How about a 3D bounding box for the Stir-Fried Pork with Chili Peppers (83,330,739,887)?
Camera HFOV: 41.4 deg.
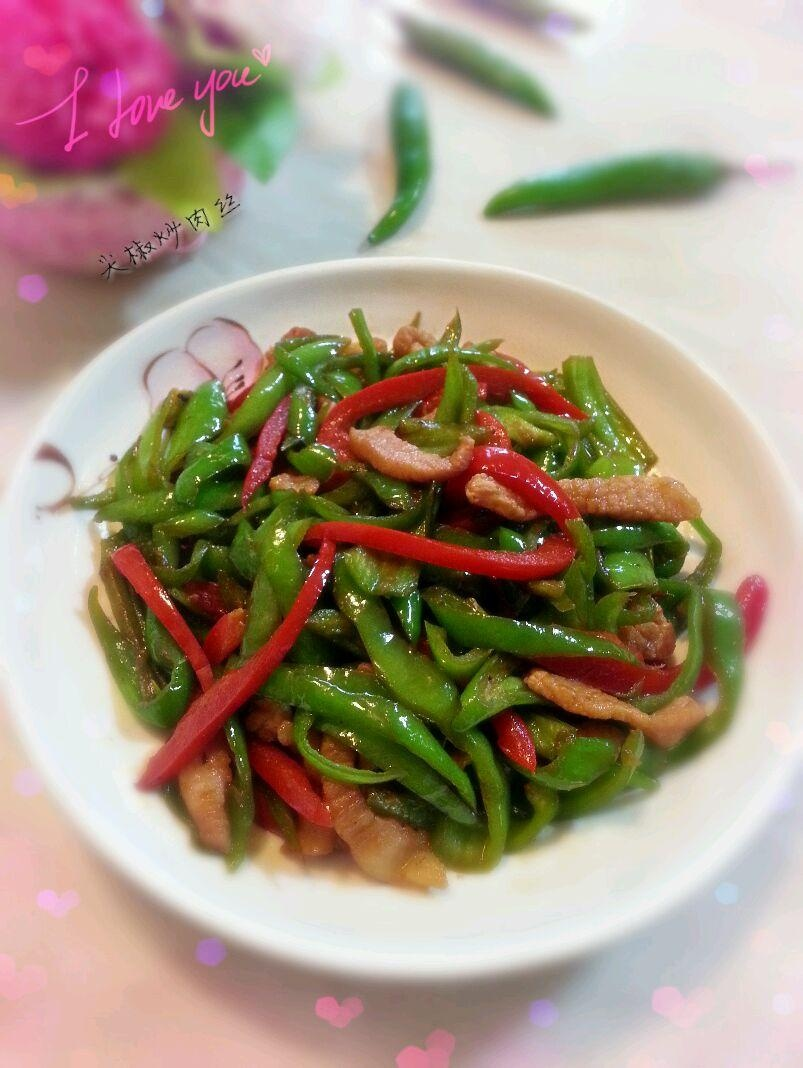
[{"bbox_3d":[0.049,0.131,3.293,1.959,0.610,1.771,-22,66,-8],"label":"Stir-Fried Pork with Chili Peppers"}]
